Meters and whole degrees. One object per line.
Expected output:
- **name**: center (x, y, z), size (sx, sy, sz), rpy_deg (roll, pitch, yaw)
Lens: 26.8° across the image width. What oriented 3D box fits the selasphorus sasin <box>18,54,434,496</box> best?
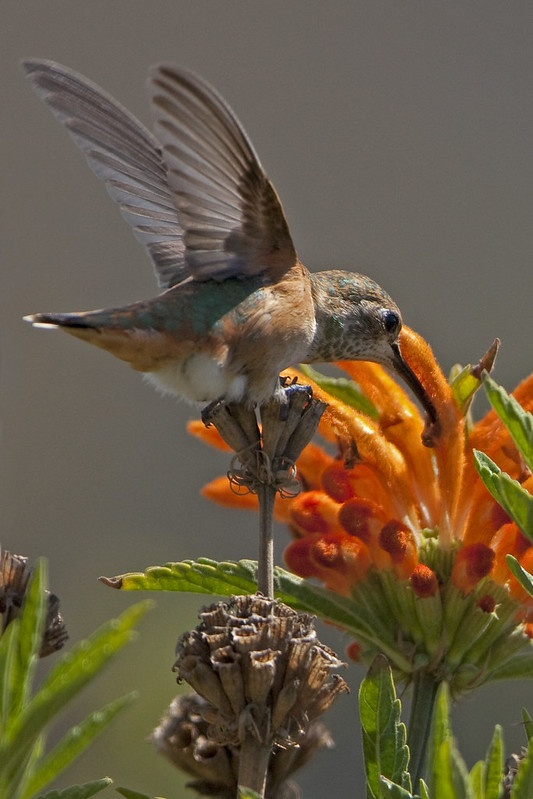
- **selasphorus sasin**: center (-0.069, -0.164, 1.145), size (0.320, 0.414, 0.465), rpy_deg (-12, -25, 33)
